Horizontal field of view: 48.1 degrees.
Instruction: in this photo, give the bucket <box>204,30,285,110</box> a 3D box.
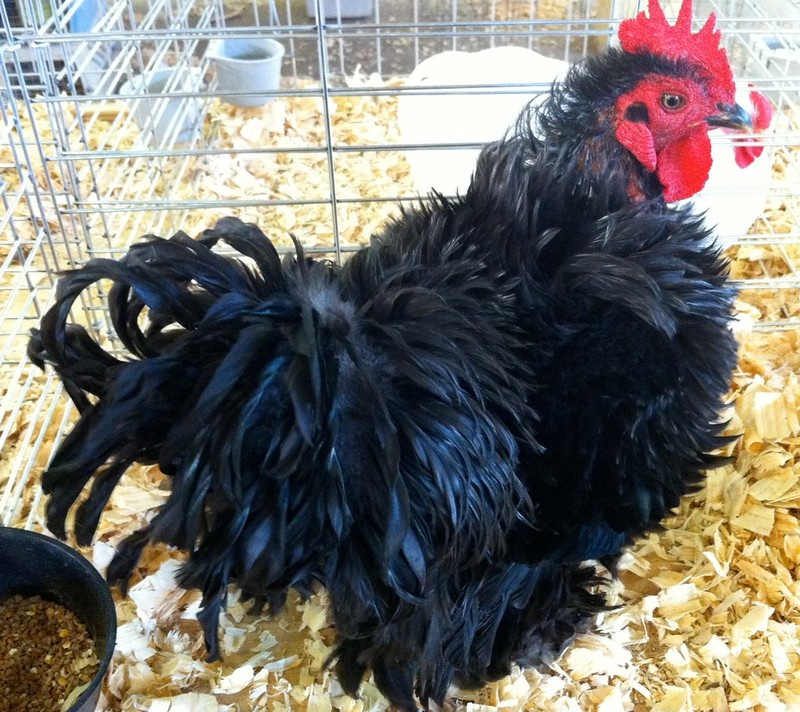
[{"bbox_3d":[-0.423,-0.715,2.312,0.189,0.127,0.224,25,29,35],"label":"bucket"}]
